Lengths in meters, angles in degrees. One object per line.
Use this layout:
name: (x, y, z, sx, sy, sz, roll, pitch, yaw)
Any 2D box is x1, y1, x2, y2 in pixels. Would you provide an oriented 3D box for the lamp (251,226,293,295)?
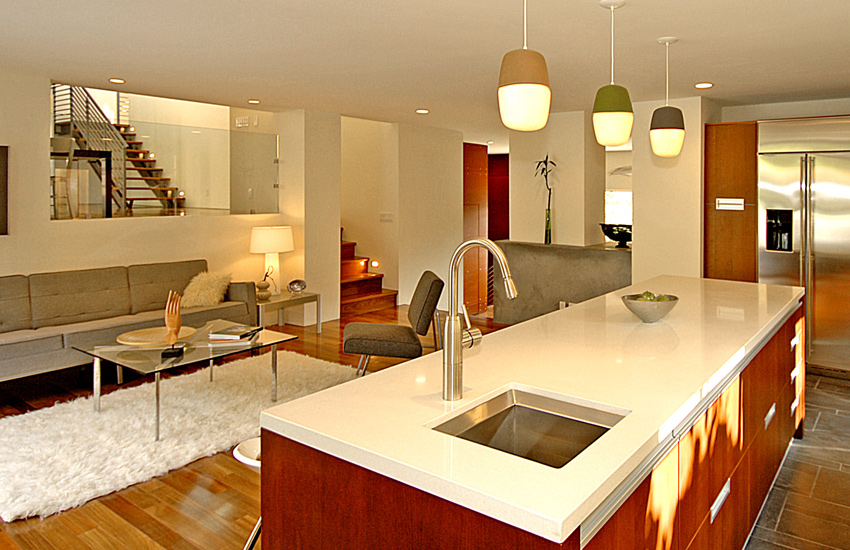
lamp: (-1.951, -0.190, 7.723, 0.521, 0.900, 0.658, -3, 9, -12)

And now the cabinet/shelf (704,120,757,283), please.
cabinet/shelf: (3.544, -0.853, 6.932, 0.618, 1.812, 0.218, 3, 10, 25)

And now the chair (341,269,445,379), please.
chair: (-0.265, 0.483, 5.313, 1.099, 1.103, 0.810, 3, -1, -10)

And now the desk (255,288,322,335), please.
desk: (-1.755, 0.405, 7.784, 0.888, 0.387, 0.847, 0, 14, 7)

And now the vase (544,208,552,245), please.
vase: (1.631, -0.657, 7.929, 0.099, 0.475, 0.237, 0, 9, 11)

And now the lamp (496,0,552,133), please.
lamp: (0.519, -0.974, 3.133, 0.256, 0.404, 0.144, 0, 9, 8)

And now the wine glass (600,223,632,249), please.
wine glass: (2.476, -0.506, 7.734, 0.355, 0.294, 0.588, 1, 8, 16)
